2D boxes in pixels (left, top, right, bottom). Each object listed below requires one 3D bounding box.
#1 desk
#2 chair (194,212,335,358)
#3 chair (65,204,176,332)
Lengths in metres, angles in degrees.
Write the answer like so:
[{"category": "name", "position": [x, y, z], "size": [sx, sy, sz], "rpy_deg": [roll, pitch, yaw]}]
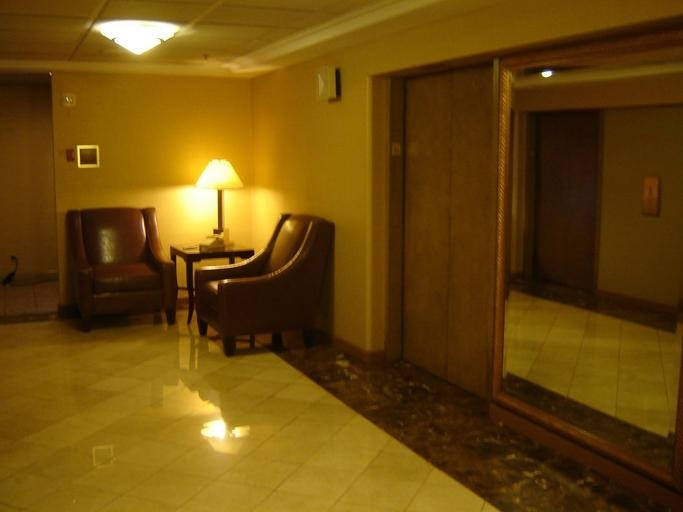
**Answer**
[{"category": "desk", "position": [-1.509, 0.197, 6.430], "size": [0.846, 0.934, 0.875], "rpy_deg": [-3, 9, -22]}, {"category": "chair", "position": [-0.735, 0.233, 5.396], "size": [1.132, 1.237, 0.938], "rpy_deg": [-6, 12, -28]}, {"category": "chair", "position": [-2.449, 0.093, 6.136], "size": [0.936, 1.254, 1.223], "rpy_deg": [-3, 9, -31]}]
